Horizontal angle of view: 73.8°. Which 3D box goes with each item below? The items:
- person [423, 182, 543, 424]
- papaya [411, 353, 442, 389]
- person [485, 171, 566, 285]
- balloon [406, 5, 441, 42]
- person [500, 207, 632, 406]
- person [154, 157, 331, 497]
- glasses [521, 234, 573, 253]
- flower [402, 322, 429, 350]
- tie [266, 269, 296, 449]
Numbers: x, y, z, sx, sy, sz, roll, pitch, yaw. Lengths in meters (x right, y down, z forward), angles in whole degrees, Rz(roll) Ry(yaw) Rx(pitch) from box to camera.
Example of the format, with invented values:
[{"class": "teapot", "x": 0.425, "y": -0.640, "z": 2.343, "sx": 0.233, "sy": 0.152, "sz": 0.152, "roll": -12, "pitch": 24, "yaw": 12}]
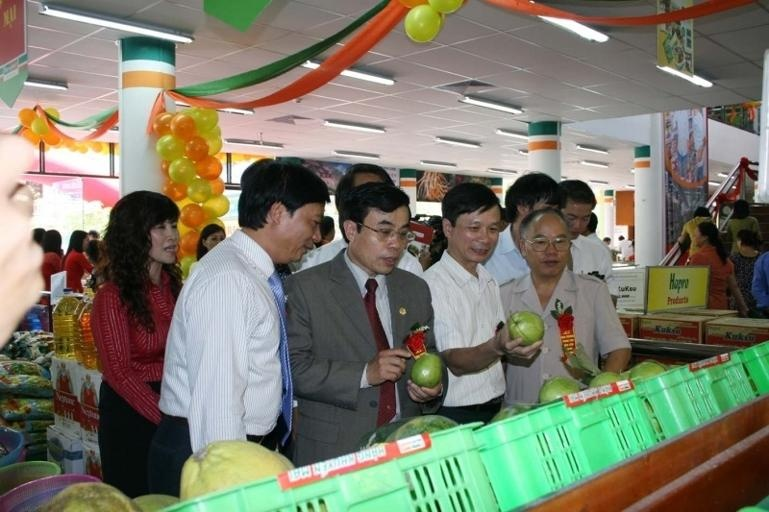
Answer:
[{"class": "person", "x": 0.558, "y": 0.329, "z": 2.497, "sx": 0.511, "sy": 1.279, "sz": 0.557, "roll": 2, "pitch": 2, "yaw": -15}, {"class": "papaya", "x": 0.174, "y": 0.459, "z": 2.045, "sx": 0.121, "sy": 0.160, "sz": 0.123, "roll": 5, "pitch": -46, "yaw": 18}, {"class": "person", "x": 0.994, "y": -0.220, "z": 3.932, "sx": 0.651, "sy": 1.419, "sz": 0.814, "roll": 0, "pitch": 1, "yaw": 16}, {"class": "balloon", "x": 0.351, "y": -2.058, "z": 4.552, "sx": 0.285, "sy": 0.256, "sz": 0.338, "roll": -2, "pitch": -3, "yaw": 17}, {"class": "person", "x": 0.901, "y": 0.263, "z": 2.663, "sx": 0.476, "sy": 1.180, "sz": 0.540, "roll": -1, "pitch": 2, "yaw": -37}, {"class": "person", "x": -0.547, "y": 0.250, "z": 2.031, "sx": 0.496, "sy": 1.289, "sz": 0.557, "roll": -3, "pitch": -4, "yaw": 43}, {"class": "glasses", "x": 0.824, "y": -0.058, "z": 2.625, "sx": 0.220, "sy": 0.081, "sz": 0.113, "roll": -2, "pitch": -3, "yaw": 15}, {"class": "flower", "x": 0.134, "y": 0.338, "z": 2.165, "sx": 0.100, "sy": 0.136, "sz": 0.063, "roll": 18, "pitch": 3, "yaw": 37}, {"class": "tie", "x": -0.392, "y": 0.388, "z": 2.059, "sx": 0.087, "sy": 0.749, "sz": 0.184, "roll": -5, "pitch": 18, "yaw": -8}]
